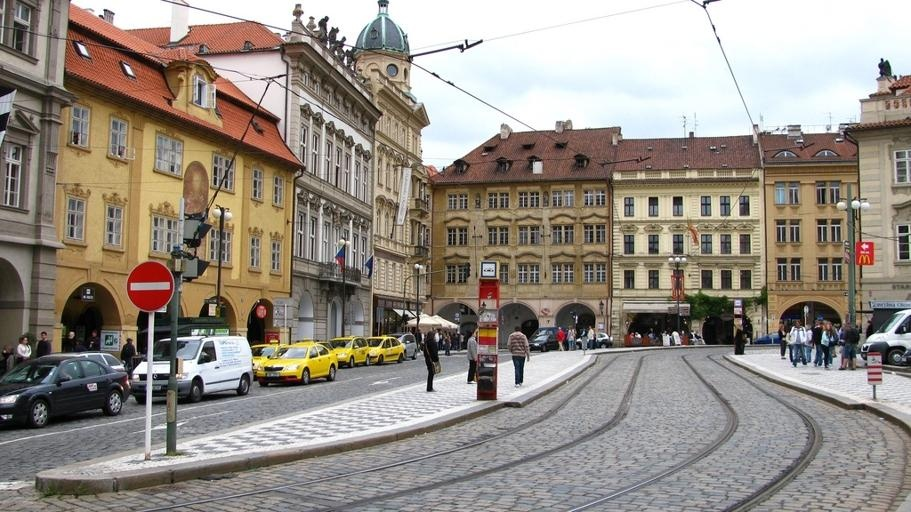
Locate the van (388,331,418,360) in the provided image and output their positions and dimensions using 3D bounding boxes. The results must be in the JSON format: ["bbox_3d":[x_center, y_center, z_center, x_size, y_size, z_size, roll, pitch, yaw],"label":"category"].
[{"bbox_3d":[-3.490,6.431,71.891,1.354,1.059,2.162,-5,-11,23],"label":"van"}]

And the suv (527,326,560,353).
[{"bbox_3d":[7.432,6.981,84.017,2.060,2.040,3.071,-4,-9,24],"label":"suv"}]

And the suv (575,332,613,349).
[{"bbox_3d":[11.996,7.310,86.709,3.169,1.504,1.874,3,-4,1],"label":"suv"}]

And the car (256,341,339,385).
[{"bbox_3d":[-7.968,5.807,53.804,1.966,1.479,4.267,-6,-8,17],"label":"car"}]

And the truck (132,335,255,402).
[{"bbox_3d":[-12.274,5.414,48.189,3.483,2.637,5.831,-5,-9,20],"label":"truck"}]
